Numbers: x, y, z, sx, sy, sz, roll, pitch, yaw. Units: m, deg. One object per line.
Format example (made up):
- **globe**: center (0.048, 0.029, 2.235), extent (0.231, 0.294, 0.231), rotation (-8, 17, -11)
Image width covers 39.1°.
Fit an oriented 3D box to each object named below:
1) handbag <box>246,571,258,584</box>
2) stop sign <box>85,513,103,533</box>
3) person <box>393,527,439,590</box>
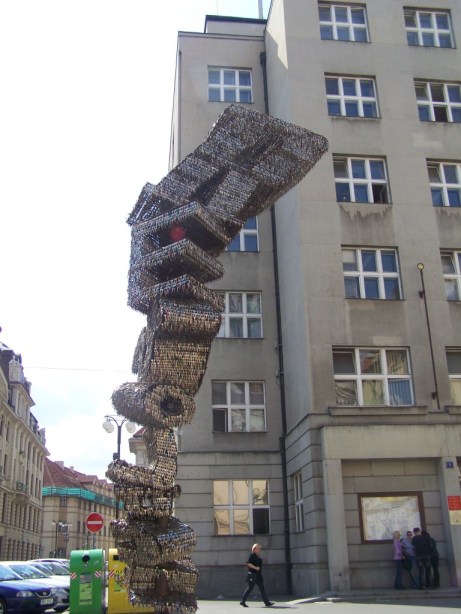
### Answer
- **handbag**: center (0.479, 6.270, 14.986), extent (0.192, 0.275, 0.606), rotation (-2, -18, -4)
- **stop sign**: center (-3.901, 6.160, 18.522), extent (0.400, 0.540, 1.716), rotation (0, -18, -11)
- **person**: center (4.425, 6.059, 15.609), extent (1.067, 1.328, 0.802), rotation (-8, -18, 15)
